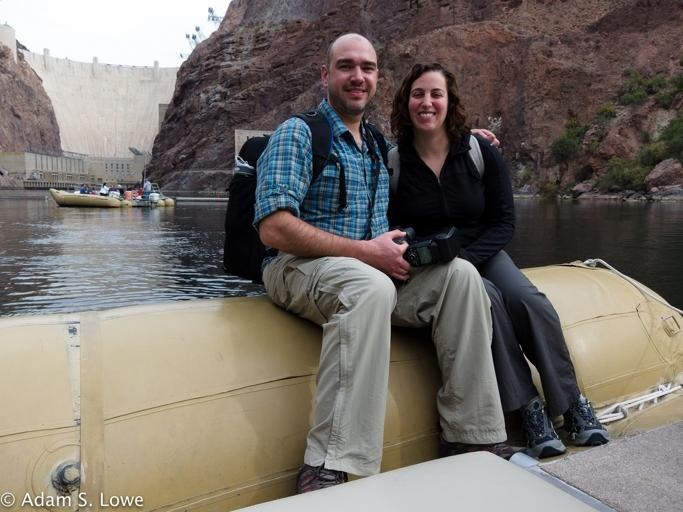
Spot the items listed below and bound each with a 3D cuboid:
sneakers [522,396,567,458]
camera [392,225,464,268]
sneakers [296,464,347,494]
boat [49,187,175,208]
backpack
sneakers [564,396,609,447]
[{"bbox_3d":[0.749,0.658,1.954,0.102,0.122,0.270,-18,-8,3],"label":"sneakers"},{"bbox_3d":[0.340,-0.034,1.968,0.177,0.066,0.205,-9,0,-8],"label":"camera"},{"bbox_3d":[-0.061,0.671,1.556,0.151,0.078,0.085,1,8,2],"label":"sneakers"},{"bbox_3d":[-13.255,-3.348,30.128,2.499,1.059,7.512,3,8,18],"label":"boat"},{"bbox_3d":[-0.155,-0.265,2.259,0.695,0.679,0.466,5,18,-3],"label":"backpack"},{"bbox_3d":[0.968,0.665,2.047,0.097,0.119,0.258,-7,-10,6],"label":"sneakers"}]
